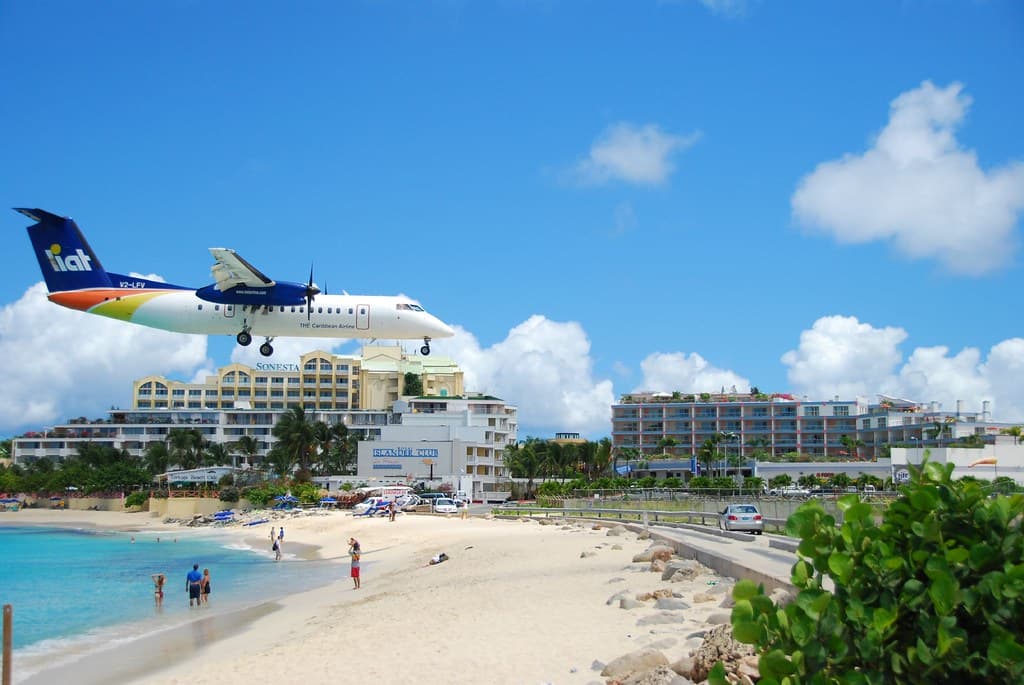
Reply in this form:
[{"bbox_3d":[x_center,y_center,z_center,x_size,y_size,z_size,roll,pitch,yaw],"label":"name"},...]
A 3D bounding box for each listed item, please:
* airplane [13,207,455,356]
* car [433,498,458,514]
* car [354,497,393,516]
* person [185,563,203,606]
[{"bbox_3d":[-13.698,-1.833,38.631,12.316,3.991,11.621,2,-1,-7],"label":"airplane"},{"bbox_3d":[-6.044,14.860,76.444,2.191,1.207,2.303,0,-11,-3],"label":"car"},{"bbox_3d":[-12.357,15.023,75.958,1.495,0.943,2.453,-6,-9,30],"label":"car"},{"bbox_3d":[-12.287,9.427,32.689,0.553,1.486,1.266,3,-12,-19],"label":"person"}]
